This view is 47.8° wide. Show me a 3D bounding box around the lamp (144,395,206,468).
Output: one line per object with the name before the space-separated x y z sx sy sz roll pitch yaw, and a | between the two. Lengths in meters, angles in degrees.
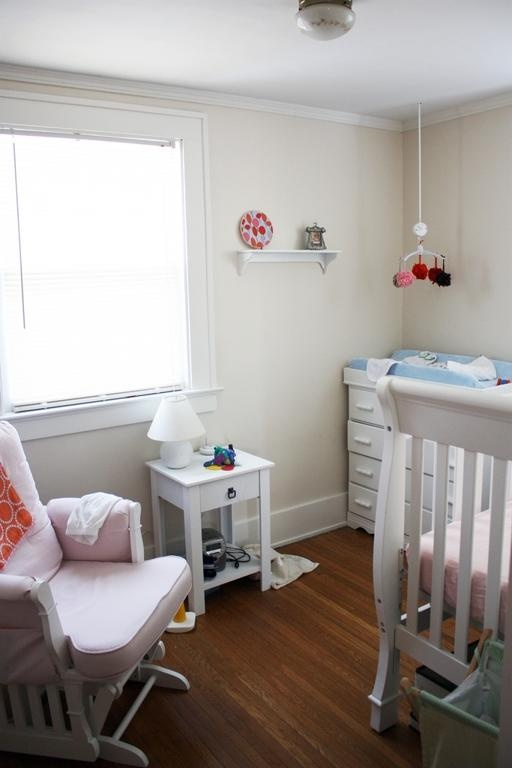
lamp | -0.346 0.207 2.453 0.218 0.317 0.222 -10 14 -35

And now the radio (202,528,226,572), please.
radio | -0.183 0.710 2.499 0.122 0.146 0.141 -3 5 -32

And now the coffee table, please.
coffee table | -0.156 0.511 2.718 0.604 0.874 0.552 -9 14 -37
